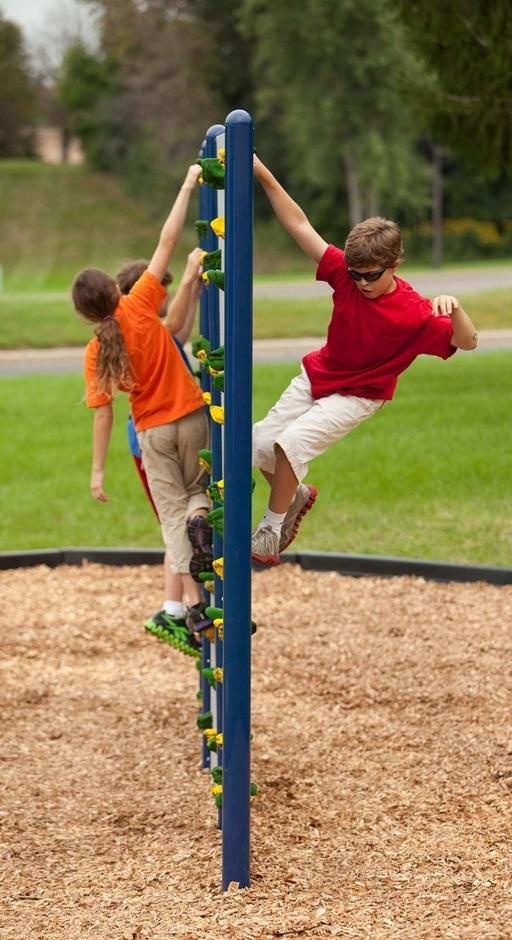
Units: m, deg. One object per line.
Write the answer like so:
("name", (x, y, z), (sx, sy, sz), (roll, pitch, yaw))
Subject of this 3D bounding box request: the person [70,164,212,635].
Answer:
("person", (-0.313, -0.223, 3.938), (0.373, 1.327, 0.727), (-8, 10, -38))

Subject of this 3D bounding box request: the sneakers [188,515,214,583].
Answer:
("sneakers", (-0.171, 0.234, 3.821), (0.080, 0.214, 0.089), (0, -9, -3))

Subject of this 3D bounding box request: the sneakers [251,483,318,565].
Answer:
("sneakers", (0.101, 0.214, 4.623), (0.107, 0.336, 0.155), (27, -8, 12))

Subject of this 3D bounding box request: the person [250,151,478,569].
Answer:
("person", (0.293, -0.280, 3.765), (0.653, 1.117, 0.485), (-2, 8, -2))

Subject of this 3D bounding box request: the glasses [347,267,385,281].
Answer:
("glasses", (0.289, -0.550, 3.617), (0.132, 0.043, 0.058), (6, 10, 43))
